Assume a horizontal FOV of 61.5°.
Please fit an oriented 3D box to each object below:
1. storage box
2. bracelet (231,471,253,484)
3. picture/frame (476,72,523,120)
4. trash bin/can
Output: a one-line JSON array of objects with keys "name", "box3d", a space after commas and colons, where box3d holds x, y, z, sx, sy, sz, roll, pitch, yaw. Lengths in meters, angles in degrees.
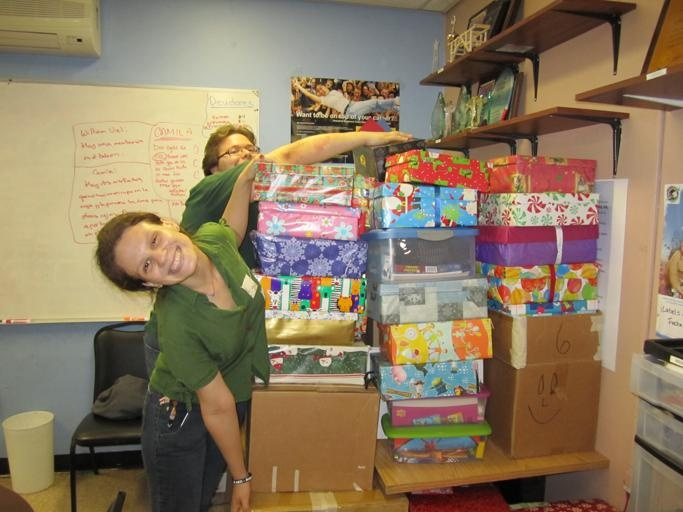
[{"name": "storage box", "box3d": [0.635, 0.218, 3.195, 1.561, 0.978, 1.531, 0, 8, 5]}, {"name": "bracelet", "box3d": [-0.384, 0.874, 2.260, 0.066, 0.031, 0.050, -1, -2, -28]}, {"name": "picture/frame", "box3d": [0.816, -0.833, 3.075, 0.031, 0.317, 0.270, 17, -12, -33]}, {"name": "trash bin/can", "box3d": [-1.821, 1.168, 3.398, 0.257, 0.461, 0.231, -6, 7, -29]}]
